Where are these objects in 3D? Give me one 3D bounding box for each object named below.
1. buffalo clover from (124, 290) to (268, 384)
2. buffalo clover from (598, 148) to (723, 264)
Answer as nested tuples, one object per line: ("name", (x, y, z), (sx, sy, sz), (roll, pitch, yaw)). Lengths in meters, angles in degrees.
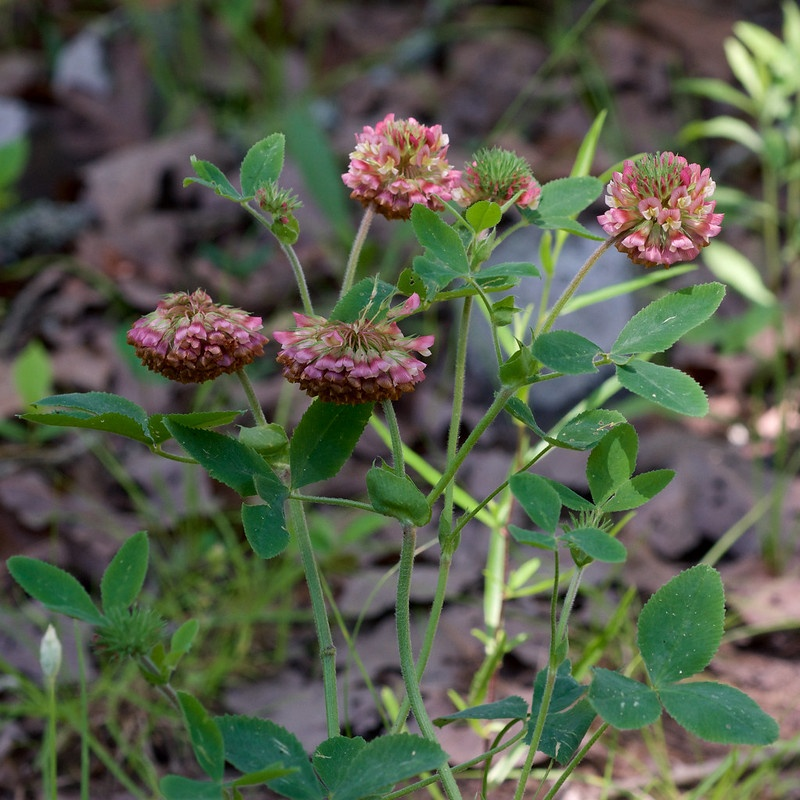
("buffalo clover", (-0.353, -0.097, 1.530), (0.226, 0.205, 0.112), (-2, 87, 15))
("buffalo clover", (0.402, -0.301, 1.483), (0.194, 0.158, 0.157), (-1, 99, 3))
